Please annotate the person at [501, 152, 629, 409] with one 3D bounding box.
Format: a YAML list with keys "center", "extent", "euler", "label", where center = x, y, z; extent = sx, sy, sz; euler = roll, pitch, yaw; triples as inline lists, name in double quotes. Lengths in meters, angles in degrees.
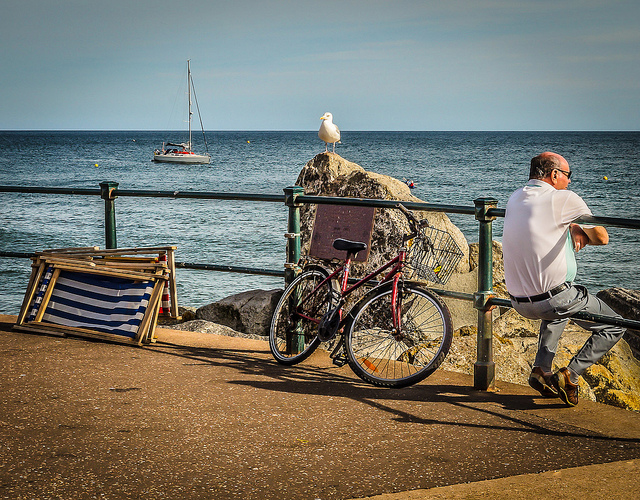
- center: [1.877, 0.249, 6.580]
  extent: [0.942, 1.925, 0.446]
  euler: [7, 13, 21]
  label: "person"

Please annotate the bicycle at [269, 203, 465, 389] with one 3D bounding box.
- center: [0.273, 0.414, 7.484]
  extent: [1.022, 1.424, 2.237]
  euler: [28, -14, -37]
  label: "bicycle"
